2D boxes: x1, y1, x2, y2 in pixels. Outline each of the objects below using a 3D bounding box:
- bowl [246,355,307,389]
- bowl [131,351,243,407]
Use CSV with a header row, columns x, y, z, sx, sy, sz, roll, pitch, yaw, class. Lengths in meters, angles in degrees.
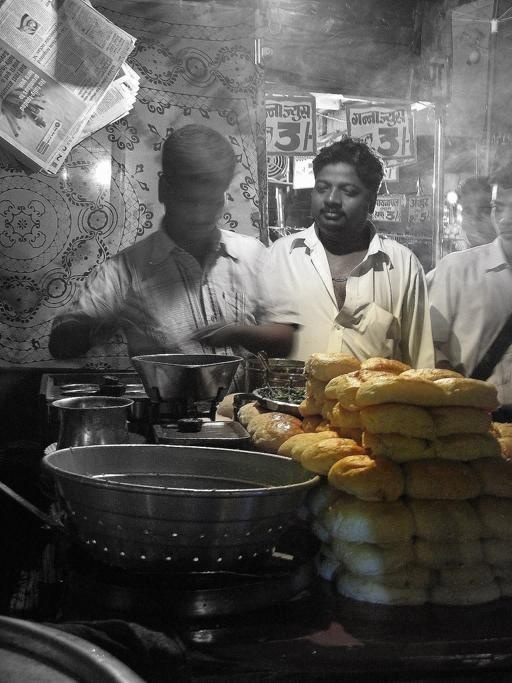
x,y,z,sx,sy,sz,roll,pitch,yaw,class
0.076,0.107,2.015,0.180,0.147,0.154,1,-3,-5,bowl
-0.193,0.100,1.639,0.287,0.137,0.307,-1,8,0,bowl
